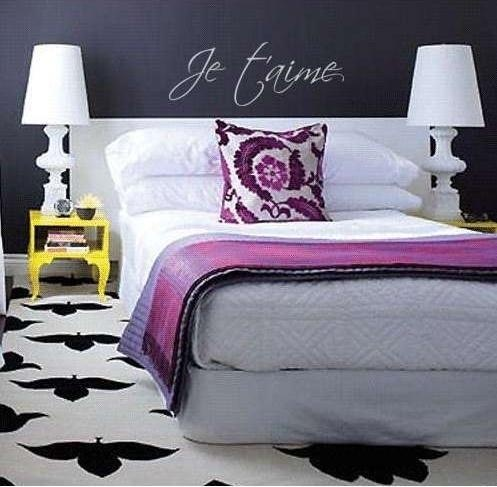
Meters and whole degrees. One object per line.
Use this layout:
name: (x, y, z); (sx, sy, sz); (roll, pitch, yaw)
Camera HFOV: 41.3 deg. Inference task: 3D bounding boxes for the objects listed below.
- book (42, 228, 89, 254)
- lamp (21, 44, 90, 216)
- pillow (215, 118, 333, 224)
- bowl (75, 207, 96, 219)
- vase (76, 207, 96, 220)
book: (-0.935, -0.016, 3.400); (0.214, 0.109, 0.095); (-1, 11, -11)
lamp: (-1.055, -0.629, 3.571); (0.322, 0.913, 0.372); (-10, 16, -42)
pillow: (0.111, -0.311, 2.972); (0.530, 0.461, 0.192); (-2, -15, -8)
bowl: (-0.843, -0.158, 3.412); (0.070, 0.040, 0.070); (-1, -3, 0)
vase: (-0.846, -0.159, 3.411); (0.071, 0.041, 0.071); (-1, -3, 2)
